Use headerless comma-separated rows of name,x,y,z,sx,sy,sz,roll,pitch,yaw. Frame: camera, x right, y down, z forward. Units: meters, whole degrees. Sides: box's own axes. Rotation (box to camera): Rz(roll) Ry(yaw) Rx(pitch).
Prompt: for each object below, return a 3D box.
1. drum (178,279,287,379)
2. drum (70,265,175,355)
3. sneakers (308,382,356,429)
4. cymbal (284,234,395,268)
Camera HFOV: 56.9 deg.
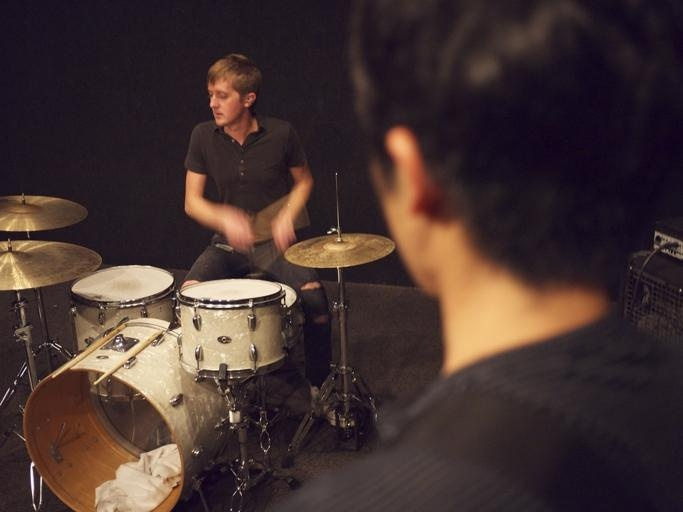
drum,-0.562,0.395,3.668,0.547,0.443,0.605,2,12,17
drum,-1.360,0.399,4.129,0.618,0.497,0.613,-5,22,-24
sneakers,-0.065,0.974,3.973,0.320,0.261,0.152,7,18,17
cymbal,0.062,-0.063,3.668,0.518,0.090,0.533,-20,-15,31
